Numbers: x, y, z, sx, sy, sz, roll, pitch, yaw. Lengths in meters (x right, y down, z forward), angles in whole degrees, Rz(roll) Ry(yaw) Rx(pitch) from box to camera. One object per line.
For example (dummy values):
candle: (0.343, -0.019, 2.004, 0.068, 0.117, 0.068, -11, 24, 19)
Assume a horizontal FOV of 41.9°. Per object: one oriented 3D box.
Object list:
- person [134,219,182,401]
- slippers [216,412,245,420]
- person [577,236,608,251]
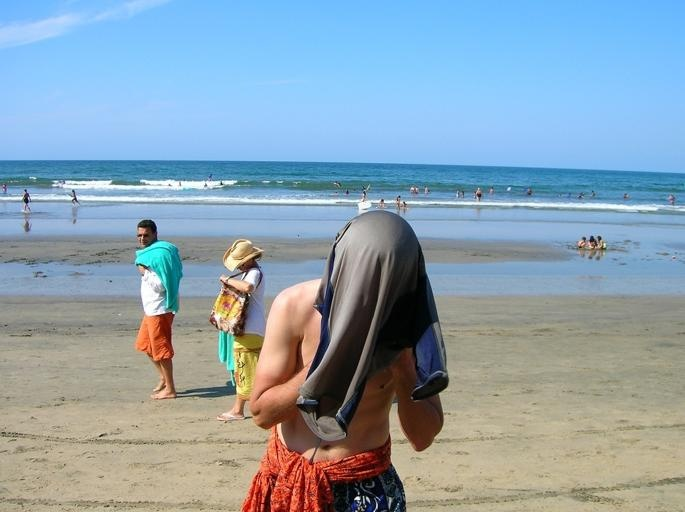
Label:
person: (-2.604, 0.749, 12.689, 0.637, 2.479, 0.751, -6, 16, -25)
slippers: (-1.515, 2.170, 12.146, 0.260, 0.056, 0.134, 3, -2, 14)
person: (7.967, -0.398, 28.786, 0.791, 0.411, 0.993, 1, -1, 7)
